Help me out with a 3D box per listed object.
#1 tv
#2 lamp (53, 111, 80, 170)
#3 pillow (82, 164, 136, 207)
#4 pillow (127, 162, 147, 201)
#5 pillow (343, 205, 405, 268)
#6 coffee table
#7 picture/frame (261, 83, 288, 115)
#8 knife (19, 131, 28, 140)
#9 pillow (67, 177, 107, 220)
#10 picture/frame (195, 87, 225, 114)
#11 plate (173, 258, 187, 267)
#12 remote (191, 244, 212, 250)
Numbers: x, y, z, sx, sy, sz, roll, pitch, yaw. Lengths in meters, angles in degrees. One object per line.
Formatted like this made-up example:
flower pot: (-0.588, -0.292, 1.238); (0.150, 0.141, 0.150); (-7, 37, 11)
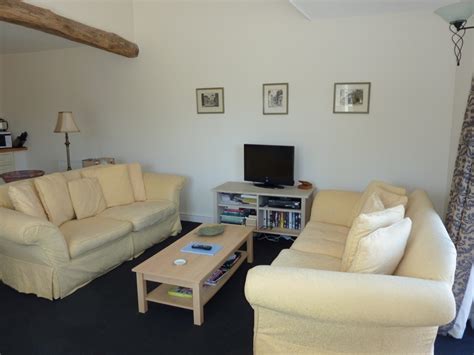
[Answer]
tv: (0.459, -0.167, 4.962); (0.777, 0.568, 0.205); (6, 14, 32)
lamp: (-2.658, -0.534, 5.678); (0.326, 0.984, 0.982); (-5, 14, -24)
pillow: (-1.604, 0.148, 4.729); (0.585, 0.550, 0.213); (-10, -11, -39)
pillow: (-1.371, 0.070, 4.999); (0.135, 0.438, 0.440); (-16, -5, 14)
pillow: (1.073, 0.462, 2.732); (0.449, 0.331, 0.154); (-9, 38, -46)
coffee table: (-0.383, 0.928, 3.701); (0.671, 0.578, 1.200); (7, 13, 27)
picture/frame: (0.548, -1.089, 4.927); (0.436, 0.470, 0.032); (2, 11, 21)
knife: (-3.676, -0.704, 6.250); (0.165, 0.162, 0.046); (0, -22, 20)
pillow: (-1.795, 0.264, 4.300); (0.134, 0.446, 0.460); (-13, 29, 22)
picture/frame: (-0.368, -1.121, 5.224); (0.410, 0.341, 0.033); (2, 8, 21)
plate: (-0.531, 0.802, 3.376); (0.127, 0.030, 0.113); (-1, 12, -9)
remote: (-0.350, 0.710, 3.643); (0.155, 0.027, 0.075); (3, 8, 14)
